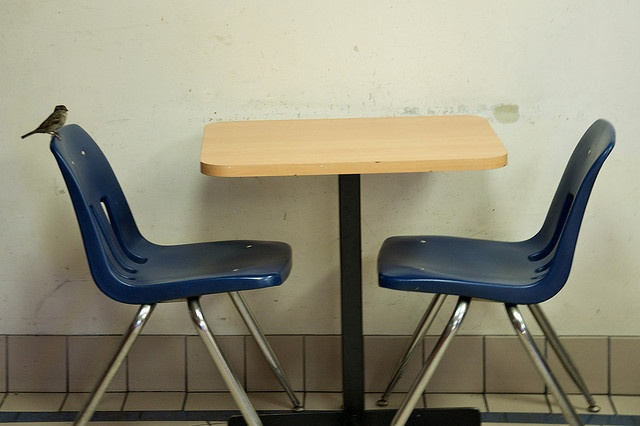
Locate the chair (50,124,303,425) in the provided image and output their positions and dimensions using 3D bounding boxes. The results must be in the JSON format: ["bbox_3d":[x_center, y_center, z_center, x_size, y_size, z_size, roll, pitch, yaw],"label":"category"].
[{"bbox_3d":[-0.510,0.277,2.604,0.857,1.187,0.479,-1,14,-2],"label":"chair"}]

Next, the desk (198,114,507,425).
[{"bbox_3d":[0.123,0.116,2.909,1.391,1.265,1.002,0,17,2],"label":"desk"}]

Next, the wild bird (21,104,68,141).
[{"bbox_3d":[-0.967,-0.326,2.508,0.116,0.099,0.246,-5,13,-21],"label":"wild bird"}]

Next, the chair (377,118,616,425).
[{"bbox_3d":[0.622,0.196,2.565,0.815,1.058,0.514,1,14,4],"label":"chair"}]
